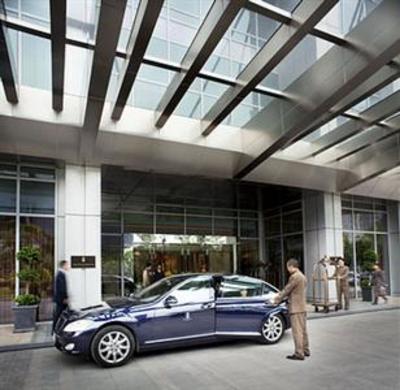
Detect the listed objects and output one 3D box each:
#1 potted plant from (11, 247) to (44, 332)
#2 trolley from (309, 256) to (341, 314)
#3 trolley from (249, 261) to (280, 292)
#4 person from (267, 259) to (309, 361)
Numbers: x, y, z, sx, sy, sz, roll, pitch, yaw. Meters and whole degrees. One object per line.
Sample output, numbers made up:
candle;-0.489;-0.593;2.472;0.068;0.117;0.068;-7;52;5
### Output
potted plant;-5.050;2.631;9.421;0.766;1.933;1.712;-3;2;-28
trolley;4.902;3.584;12.787;1.163;1.930;1.207;-9;-14;35
trolley;3.436;4.682;18.562;1.343;2.597;1.345;3;-12;-9
person;1.638;2.052;5.768;0.553;1.761;0.711;-1;2;19
